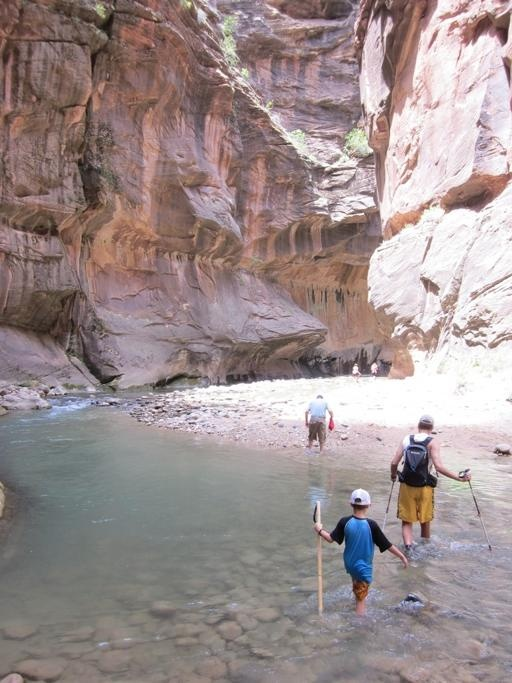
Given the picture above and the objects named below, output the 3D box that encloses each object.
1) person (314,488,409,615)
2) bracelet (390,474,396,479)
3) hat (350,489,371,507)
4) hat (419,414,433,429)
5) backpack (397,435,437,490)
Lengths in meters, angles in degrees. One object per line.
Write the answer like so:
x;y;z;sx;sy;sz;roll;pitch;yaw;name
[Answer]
0.742;1.506;4.759;0.650;0.872;0.275;0;4;1;person
1.250;1.237;5.961;0.034;0.023;0.032;1;16;15;bracelet
0.758;1.140;4.768;0.120;0.142;0.190;0;4;12;hat
1.561;0.736;6.028;0.116;0.117;0.128;5;2;10;hat
1.442;1.094;5.888;0.331;0.458;0.187;0;4;13;backpack
